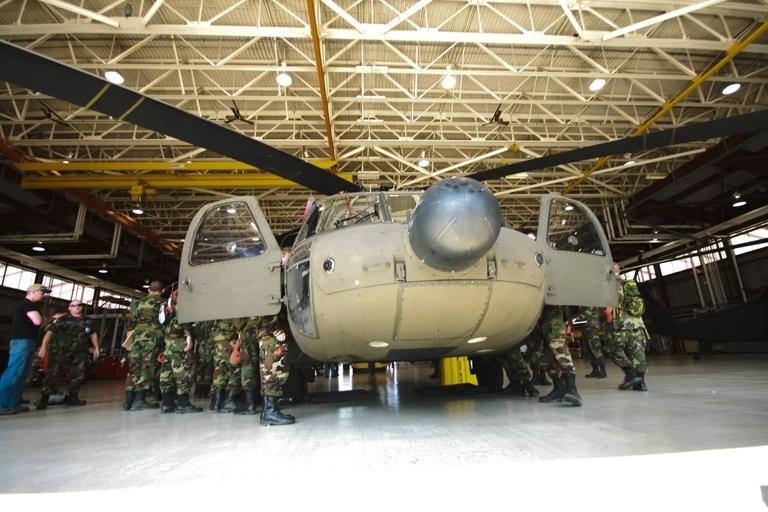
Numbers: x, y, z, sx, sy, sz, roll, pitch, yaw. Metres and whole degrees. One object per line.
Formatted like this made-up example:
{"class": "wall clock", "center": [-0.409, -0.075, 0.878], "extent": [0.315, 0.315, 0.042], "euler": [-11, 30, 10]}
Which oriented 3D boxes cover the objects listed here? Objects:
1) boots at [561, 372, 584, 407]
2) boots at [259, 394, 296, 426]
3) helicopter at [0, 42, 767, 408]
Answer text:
{"class": "boots", "center": [2.391, 1.705, 5.663], "extent": [0.244, 0.376, 0.445], "euler": [-4, -17, 22]}
{"class": "boots", "center": [-1.321, 1.895, 5.452], "extent": [0.617, 0.361, 0.241], "euler": [-1, -8, 0]}
{"class": "helicopter", "center": [-0.791, -0.008, 7.034], "extent": [6.030, 2.032, 6.452], "euler": [1, -4, -14]}
